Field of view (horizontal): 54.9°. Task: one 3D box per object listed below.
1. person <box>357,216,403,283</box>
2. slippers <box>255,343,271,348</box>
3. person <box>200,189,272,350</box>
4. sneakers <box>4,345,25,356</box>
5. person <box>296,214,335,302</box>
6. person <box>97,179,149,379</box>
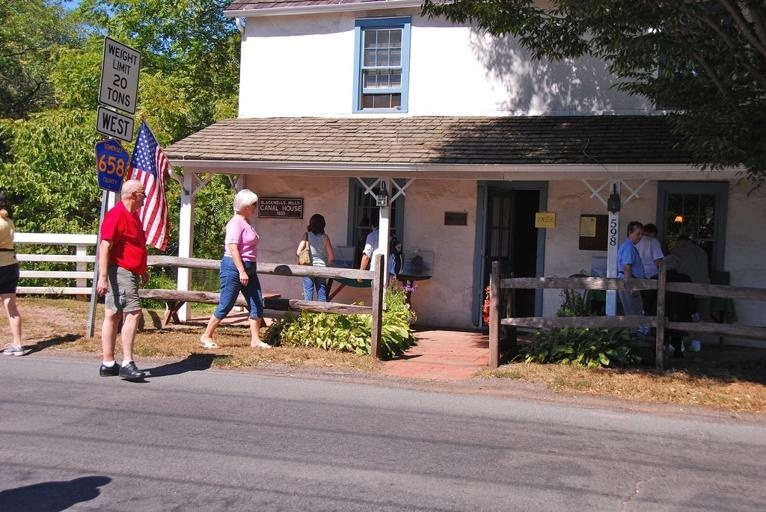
[{"bbox_3d":[-0.023,-0.055,14.710,0.737,1.067,1.695,2,10,1],"label":"person"},{"bbox_3d":[-1.908,1.442,11.742,0.245,0.109,0.087,8,-3,-14],"label":"slippers"},{"bbox_3d":[-2.270,0.230,11.629,0.994,2.559,1.045,0,9,-11],"label":"person"},{"bbox_3d":[-5.553,1.409,11.060,0.348,0.159,0.145,1,1,18],"label":"sneakers"},{"bbox_3d":[-1.317,0.098,14.249,0.651,1.820,1.169,0,9,-8],"label":"person"},{"bbox_3d":[-3.528,0.324,9.941,0.643,2.638,0.805,-2,10,-21],"label":"person"}]
